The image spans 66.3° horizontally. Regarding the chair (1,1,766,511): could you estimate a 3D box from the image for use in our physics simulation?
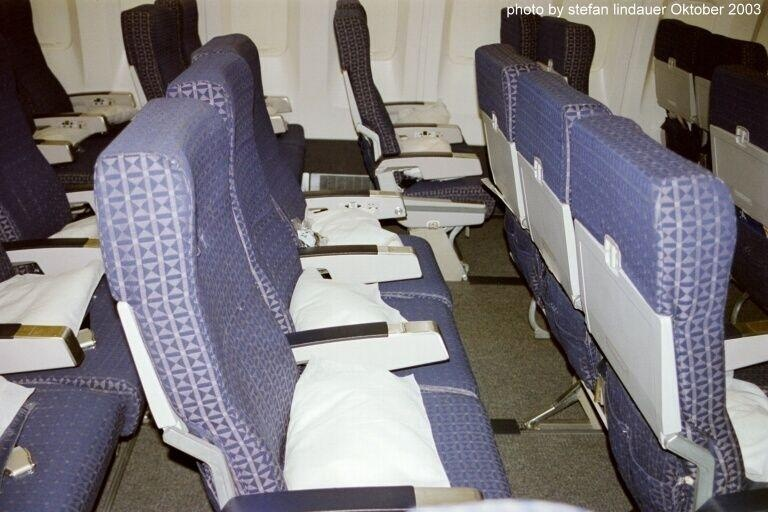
[{"bbox_3d":[0.004,0.046,1.738,1.320,0.802,1.286,1,15,-5],"label":"chair"}]
